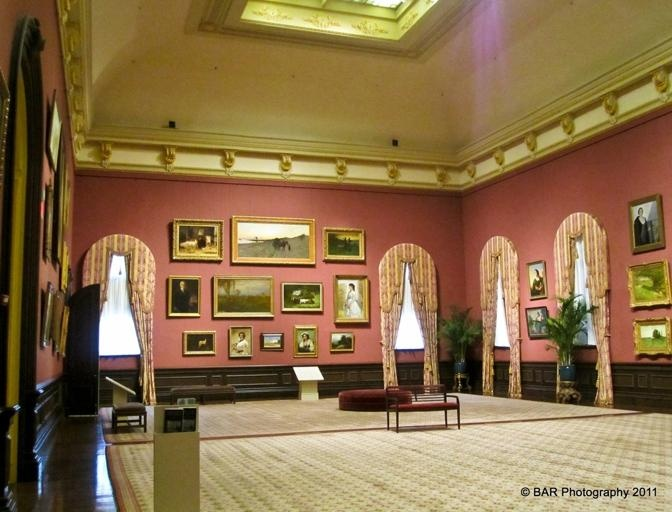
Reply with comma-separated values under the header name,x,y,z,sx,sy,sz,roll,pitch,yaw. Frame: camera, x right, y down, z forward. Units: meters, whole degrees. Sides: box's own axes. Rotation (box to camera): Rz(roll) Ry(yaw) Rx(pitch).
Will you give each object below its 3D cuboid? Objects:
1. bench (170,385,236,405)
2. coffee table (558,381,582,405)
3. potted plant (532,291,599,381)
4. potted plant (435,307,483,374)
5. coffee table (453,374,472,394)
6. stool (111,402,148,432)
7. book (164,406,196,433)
name,x,y,z,sx,sy,sz,roll,pitch,yaw
bench,-4.168,4.495,15.828,1.781,0.625,2.500,1,-11,-9
coffee table,6.736,3.957,14.251,0.620,0.624,0.483,-6,-11,25
potted plant,6.707,2.273,14.970,1.684,3.039,2.013,3,-5,-5
potted plant,4.953,3.222,19.365,1.937,2.557,2.029,1,-10,-1
coffee table,4.758,4.870,18.824,0.666,0.806,0.682,5,-10,-29
stool,-4.606,3.624,10.961,0.541,0.563,0.783,8,-15,-33
book,-1.414,1.493,4.545,0.296,0.325,0.192,1,-5,-6
